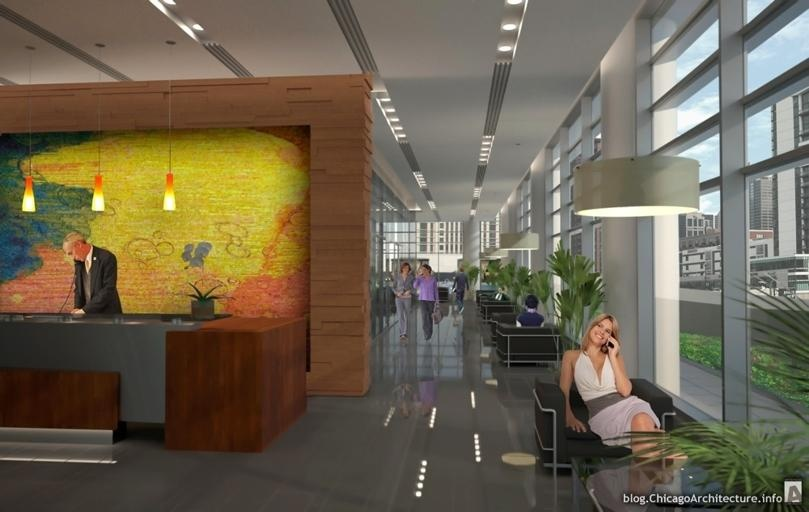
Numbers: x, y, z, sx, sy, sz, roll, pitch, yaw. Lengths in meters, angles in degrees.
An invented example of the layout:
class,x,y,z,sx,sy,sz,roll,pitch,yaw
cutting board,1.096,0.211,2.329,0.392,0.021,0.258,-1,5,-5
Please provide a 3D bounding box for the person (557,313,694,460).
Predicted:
class,x,y,z,sx,sy,sz,roll,pitch,yaw
person,2.162,1.319,5.630,0.560,1.307,0.992,-4,5,-43

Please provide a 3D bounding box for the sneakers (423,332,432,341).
class,x,y,z,sx,sy,sz,roll,pitch,yaw
sneakers,0.562,2.035,13.131,0.166,0.195,0.171,1,-2,5

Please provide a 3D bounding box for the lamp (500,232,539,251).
class,x,y,z,sx,sy,sz,roll,pitch,yaw
lamp,3.039,-0.388,14.364,0.710,0.288,0.709,1,0,-36

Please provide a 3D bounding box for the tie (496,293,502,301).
class,x,y,z,sx,sy,sz,roll,pitch,yaw
tie,3.135,1.384,17.545,0.205,0.186,0.202,1,-4,1

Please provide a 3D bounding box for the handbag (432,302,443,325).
class,x,y,z,sx,sy,sz,roll,pitch,yaw
handbag,1.007,1.895,16.910,0.329,0.831,0.986,-2,-4,8

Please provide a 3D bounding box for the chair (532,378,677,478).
class,x,y,z,sx,sy,sz,roll,pitch,yaw
chair,1.919,1.703,5.150,1.341,0.998,0.970,-1,-7,4

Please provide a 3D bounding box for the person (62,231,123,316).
class,x,y,z,sx,sy,sz,roll,pitch,yaw
person,-5.016,0.287,8.408,0.795,1.275,0.426,0,4,17
